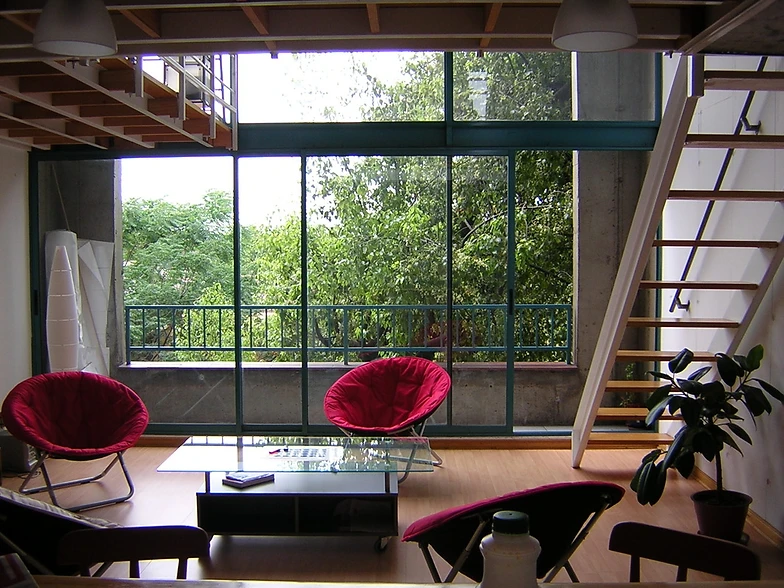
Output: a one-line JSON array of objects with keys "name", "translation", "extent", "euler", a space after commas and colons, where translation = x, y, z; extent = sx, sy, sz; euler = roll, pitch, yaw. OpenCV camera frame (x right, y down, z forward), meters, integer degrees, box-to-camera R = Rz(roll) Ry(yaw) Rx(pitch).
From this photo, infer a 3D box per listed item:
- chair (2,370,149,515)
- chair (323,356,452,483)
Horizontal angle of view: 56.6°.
[{"name": "chair", "translation": [-2.350, 1.179, 5.601], "extent": [0.978, 0.989, 1.089], "euler": [2, -4, 38]}, {"name": "chair", "translation": [-0.041, 1.049, 6.025], "extent": [1.046, 0.894, 0.991], "euler": [-1, 3, 20]}]
